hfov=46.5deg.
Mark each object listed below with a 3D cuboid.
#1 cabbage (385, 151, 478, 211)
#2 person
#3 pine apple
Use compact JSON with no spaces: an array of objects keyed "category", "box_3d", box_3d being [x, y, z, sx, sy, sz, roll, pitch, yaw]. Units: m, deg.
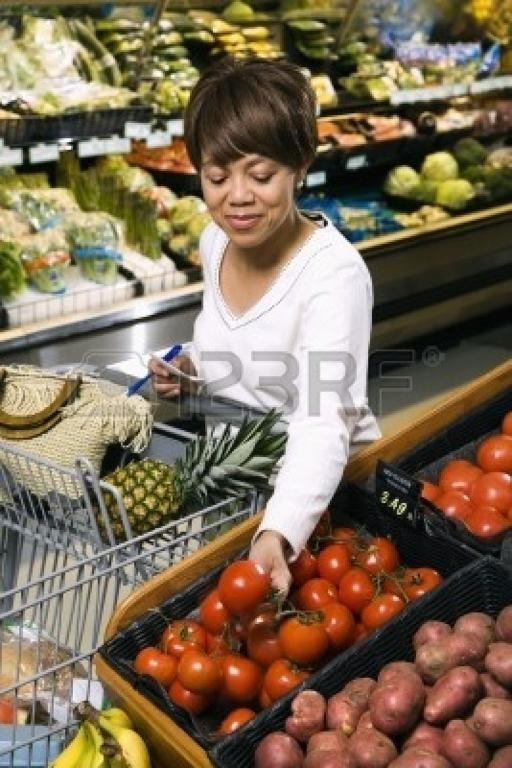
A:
[{"category":"cabbage","box_3d":[1.353,-1.561,4.747,0.658,0.460,0.433,-21,25,-37]},{"category":"person","box_3d":[0.004,-0.070,1.374,0.469,1.177,0.507,3,27,11]},{"category":"pine apple","box_3d":[-0.132,0.191,1.199,0.407,0.134,0.143,-22,-2,34]}]
